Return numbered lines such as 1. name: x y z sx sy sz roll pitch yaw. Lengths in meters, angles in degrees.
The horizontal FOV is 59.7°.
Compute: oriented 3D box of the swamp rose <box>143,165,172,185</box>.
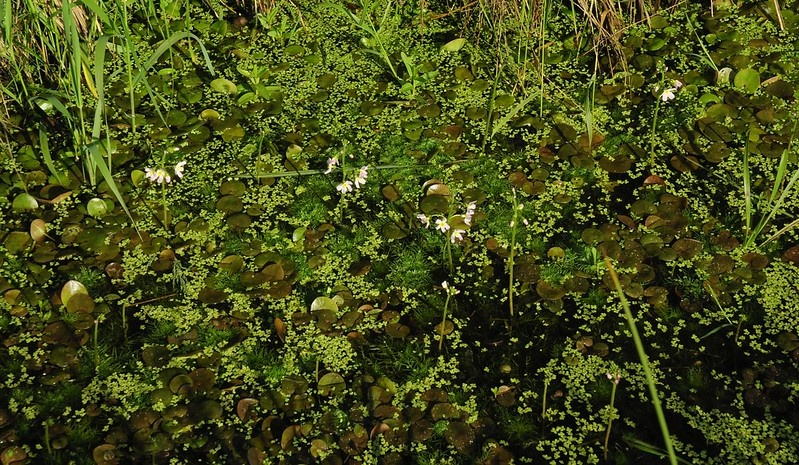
1. swamp rose: -1.918 -0.445 5.472 0.177 0.177 0.058 -34 34 15
